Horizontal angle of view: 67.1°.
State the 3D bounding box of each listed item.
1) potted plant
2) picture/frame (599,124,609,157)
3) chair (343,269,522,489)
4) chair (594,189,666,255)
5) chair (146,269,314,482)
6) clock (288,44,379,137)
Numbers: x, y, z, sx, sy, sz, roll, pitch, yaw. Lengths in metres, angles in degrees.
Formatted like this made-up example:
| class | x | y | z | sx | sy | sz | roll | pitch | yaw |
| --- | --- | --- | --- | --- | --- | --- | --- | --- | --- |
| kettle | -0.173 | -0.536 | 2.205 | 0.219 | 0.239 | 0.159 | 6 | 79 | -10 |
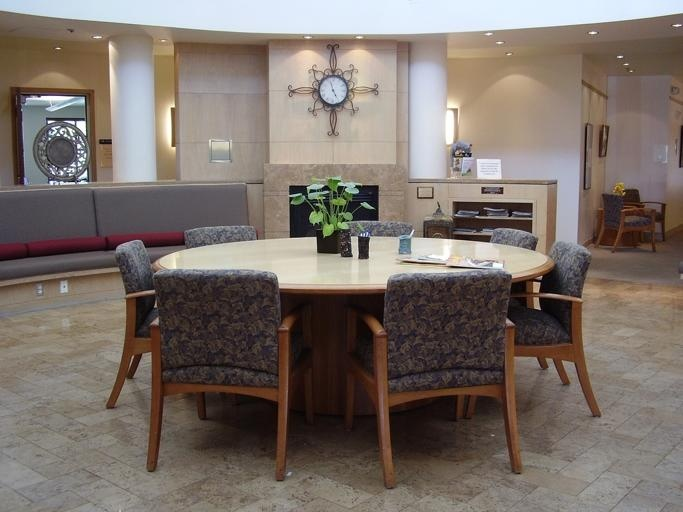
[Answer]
| class | x | y | z | sx | sy | sz | roll | pitch | yaw |
| --- | --- | --- | --- | --- | --- | --- | --- | --- | --- |
| potted plant | -0.081 | -0.255 | 3.771 | 0.615 | 0.497 | 0.577 | 8 | -8 | -20 |
| picture/frame | 5.256 | -2.328 | 10.347 | 0.078 | 0.658 | 0.847 | 7 | 12 | 34 |
| chair | 0.476 | 0.496 | 2.827 | 0.766 | 1.032 | 0.922 | -2 | 12 | -8 |
| chair | 5.480 | -0.700 | 9.936 | 1.030 | 1.023 | 2.048 | 6 | 11 | 30 |
| chair | -0.578 | 0.526 | 2.794 | 0.689 | 0.928 | 0.807 | 2 | 4 | -1 |
| clock | -0.139 | -2.428 | 7.321 | 1.264 | 1.291 | 0.083 | 0 | 2 | -6 |
